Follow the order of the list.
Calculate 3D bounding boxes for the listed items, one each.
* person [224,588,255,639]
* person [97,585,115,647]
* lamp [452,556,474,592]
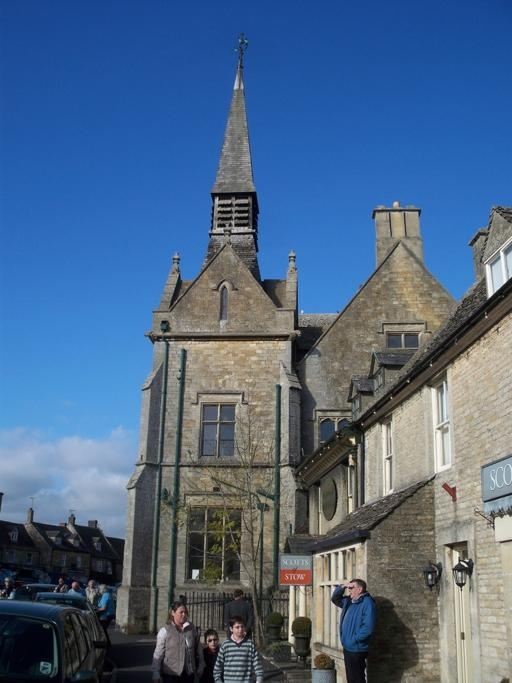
[{"bbox_3d":[-0.264,4.782,13.724,0.471,1.058,0.341,-3,24,-9],"label":"person"},{"bbox_3d":[-3.402,6.010,17.677,0.467,1.253,0.451,0,10,-6],"label":"person"},{"bbox_3d":[2.676,2.992,10.313,0.243,0.400,0.879,-2,-20,12],"label":"lamp"}]
